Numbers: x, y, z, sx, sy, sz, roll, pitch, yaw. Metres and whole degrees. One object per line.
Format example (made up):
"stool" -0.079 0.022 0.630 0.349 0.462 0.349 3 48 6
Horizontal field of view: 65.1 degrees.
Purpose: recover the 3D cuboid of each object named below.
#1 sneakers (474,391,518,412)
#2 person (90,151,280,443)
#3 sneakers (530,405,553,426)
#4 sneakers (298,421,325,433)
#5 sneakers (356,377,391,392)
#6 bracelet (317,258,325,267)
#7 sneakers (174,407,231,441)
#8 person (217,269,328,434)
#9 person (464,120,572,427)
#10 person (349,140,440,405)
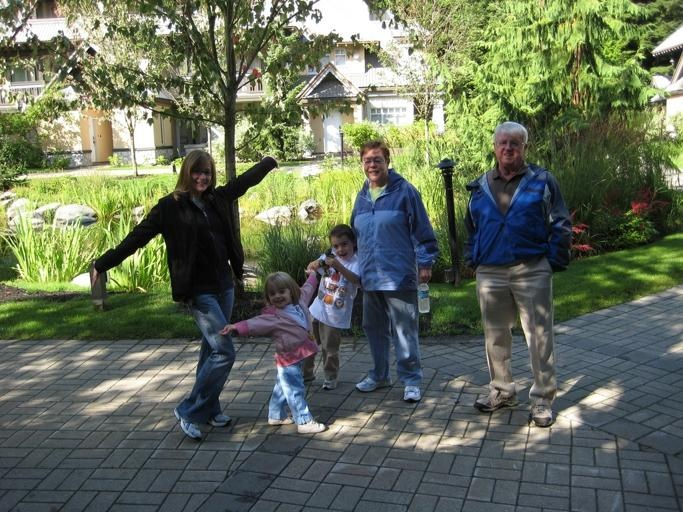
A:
"sneakers" 1.352 1.283 4.795 0.392 0.200 0.167 -4 9 -9
"person" -1.220 0.304 4.584 1.369 2.363 0.924 -9 14 -26
"sneakers" 1.661 1.315 4.446 0.183 0.144 0.149 2 13 19
"sneakers" -0.251 1.446 4.522 0.164 0.079 0.105 -3 0 3
"sneakers" 0.316 1.236 5.274 0.313 0.149 0.128 2 1 -21
"bracelet" -0.182 0.057 5.089 0.020 0.073 0.068 12 -9 -39
"sneakers" -1.167 1.429 4.576 0.571 0.274 0.206 0 16 -1
"person" -0.615 0.937 4.965 0.807 1.878 1.294 0 -1 19
"person" 1.455 0.122 4.539 0.857 2.448 0.624 3 13 23
"person" 0.467 0.122 5.009 0.847 2.362 0.501 5 14 30
